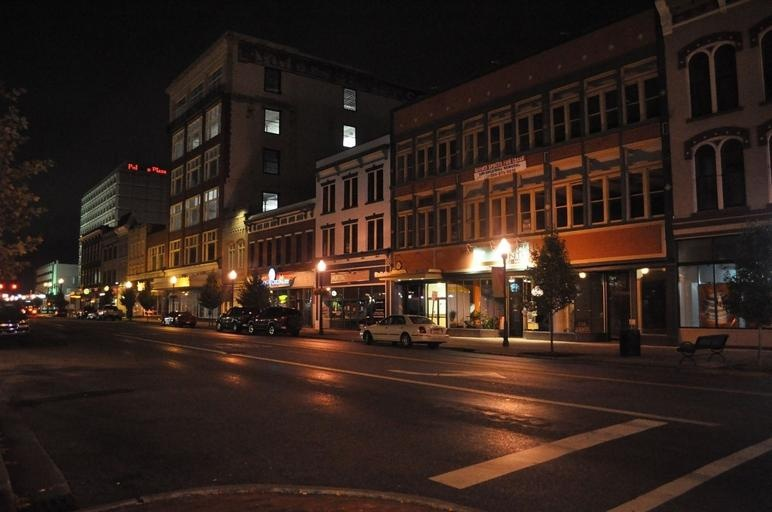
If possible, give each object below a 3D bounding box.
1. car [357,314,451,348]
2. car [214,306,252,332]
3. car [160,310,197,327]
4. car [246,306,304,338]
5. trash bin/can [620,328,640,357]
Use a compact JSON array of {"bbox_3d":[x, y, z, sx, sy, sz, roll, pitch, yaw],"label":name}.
[{"bbox_3d":[1.038,4.053,37.220,1.766,1.460,4.392,6,-6,-41],"label":"car"},{"bbox_3d":[-11.447,4.770,51.615,1.652,1.511,3.006,6,-4,-37],"label":"car"},{"bbox_3d":[-19.189,5.855,63.226,1.561,1.224,3.558,6,-4,-42],"label":"car"},{"bbox_3d":[-7.592,4.576,47.577,4.121,2.073,1.856,4,6,43],"label":"car"},{"bbox_3d":[10.941,3.948,31.229,1.051,1.259,1.058,0,-1,-25],"label":"trash bin/can"}]
